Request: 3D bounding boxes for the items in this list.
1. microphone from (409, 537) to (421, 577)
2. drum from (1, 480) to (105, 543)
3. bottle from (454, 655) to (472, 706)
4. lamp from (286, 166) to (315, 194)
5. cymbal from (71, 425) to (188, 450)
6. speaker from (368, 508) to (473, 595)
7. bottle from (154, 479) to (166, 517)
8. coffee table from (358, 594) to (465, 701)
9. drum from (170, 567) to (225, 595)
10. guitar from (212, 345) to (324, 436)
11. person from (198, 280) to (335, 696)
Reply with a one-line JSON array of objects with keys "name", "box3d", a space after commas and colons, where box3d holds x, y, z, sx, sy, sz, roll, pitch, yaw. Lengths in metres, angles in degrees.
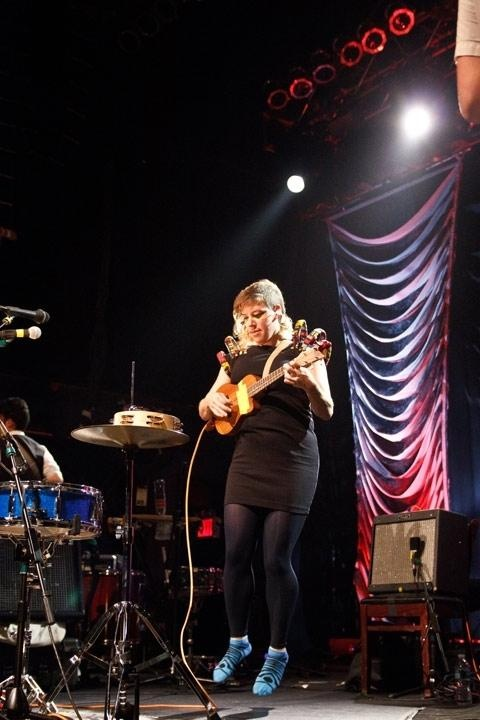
[{"name": "microphone", "box3d": [1.074, 1.189, 4.236, 0.074, 0.239, 0.173, -4, -11, 13]}, {"name": "drum", "box3d": [-0.823, 0.647, 3.123, 0.372, 0.153, 0.394, 0, -16, 0]}, {"name": "bottle", "box3d": [1.163, 1.664, 3.623, 0.111, 0.184, 0.059, 5, -14, -26]}, {"name": "lamp", "box3d": [0.629, -1.921, 7.542, 0.248, 0.195, 0.240, -1, -11, 2]}, {"name": "cymbal", "box3d": [-0.529, 0.375, 3.381, 0.546, 0.094, 0.531, 4, -12, -23]}, {"name": "speaker", "box3d": [1.169, 1.240, 4.485, 0.376, 0.486, 0.573, 18, -19, -25]}, {"name": "bottle", "box3d": [-0.677, 1.208, 6.173, 0.175, 0.305, 0.102, -6, -8, 42]}, {"name": "coffee table", "box3d": [1.031, 1.698, 4.236, 0.620, 0.553, 1.074, -4, -11, 15]}, {"name": "drum", "box3d": [-0.275, 1.585, 5.022, 0.516, 0.149, 0.402, 2, -10, 0]}, {"name": "guitar", "box3d": [0.084, 0.127, 2.954, 0.607, 0.222, 0.079, -37, -31, 23]}, {"name": "person", "box3d": [0.124, 0.451, 2.906, 0.576, 1.810, 0.690, 0, -11, -4]}]
